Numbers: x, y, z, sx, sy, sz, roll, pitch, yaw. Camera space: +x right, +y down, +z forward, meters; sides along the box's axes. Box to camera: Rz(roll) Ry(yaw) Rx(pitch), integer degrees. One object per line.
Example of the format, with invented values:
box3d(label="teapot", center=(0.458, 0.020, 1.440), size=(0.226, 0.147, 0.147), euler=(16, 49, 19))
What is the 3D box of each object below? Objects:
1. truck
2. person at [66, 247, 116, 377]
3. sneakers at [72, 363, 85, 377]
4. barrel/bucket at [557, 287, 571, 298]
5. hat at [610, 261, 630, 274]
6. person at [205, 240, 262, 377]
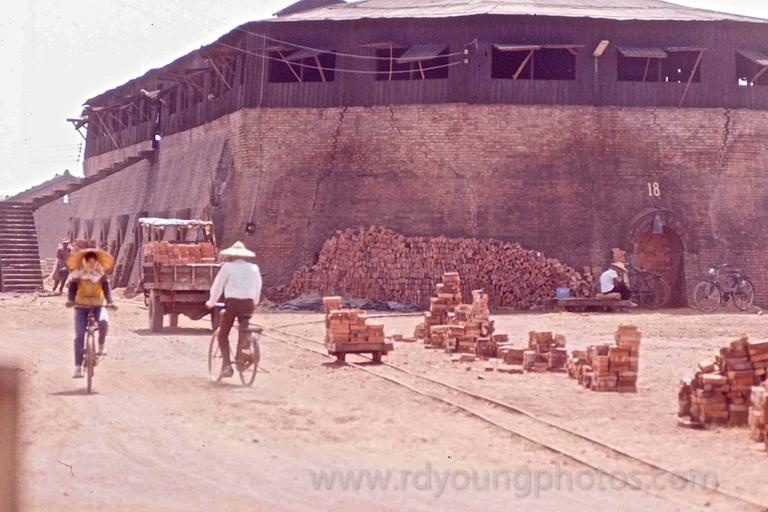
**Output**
box3d(label="truck", center=(-6.486, 0.495, 30.560), size=(3.314, 4.182, 6.773), euler=(1, 2, -13))
box3d(label="person", center=(-6.476, 1.239, 19.599), size=(0.957, 2.819, 0.870), euler=(4, -4, -19))
box3d(label="sneakers", center=(-6.780, 2.552, 19.916), size=(0.193, 0.277, 0.408), euler=(2, -4, -14))
box3d(label="barrel/bucket", center=(6.925, 1.410, 34.602), size=(0.615, 0.423, 0.330), euler=(-1, -5, -4))
box3d(label="hat", center=(9.375, 0.291, 35.495), size=(0.540, 0.154, 0.533), euler=(38, -16, -25))
box3d(label="person", center=(-3.372, 1.245, 20.161), size=(1.109, 2.943, 0.742), euler=(4, -4, -11))
